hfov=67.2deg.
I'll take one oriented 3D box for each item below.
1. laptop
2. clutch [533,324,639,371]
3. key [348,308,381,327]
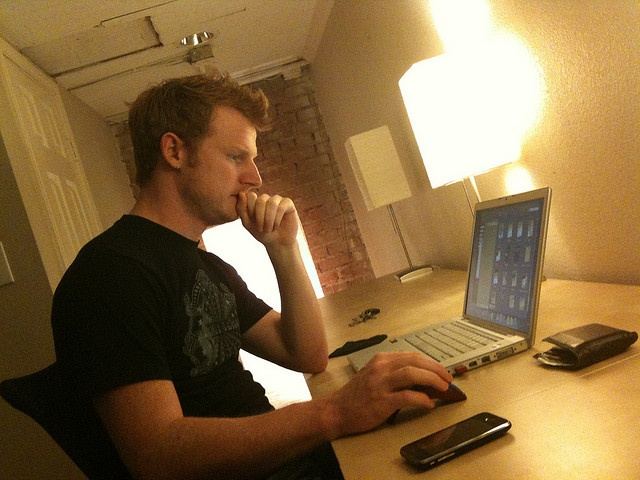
[{"bbox_3d":[0.261,0.092,1.043,0.387,0.308,0.365,-8,-1,-1],"label":"laptop"},{"bbox_3d":[0.472,0.167,0.848,0.129,0.036,0.080,-14,15,-18],"label":"clutch"},{"bbox_3d":[0.143,0.243,1.525,0.082,0.020,0.048,-28,14,18],"label":"key"}]
